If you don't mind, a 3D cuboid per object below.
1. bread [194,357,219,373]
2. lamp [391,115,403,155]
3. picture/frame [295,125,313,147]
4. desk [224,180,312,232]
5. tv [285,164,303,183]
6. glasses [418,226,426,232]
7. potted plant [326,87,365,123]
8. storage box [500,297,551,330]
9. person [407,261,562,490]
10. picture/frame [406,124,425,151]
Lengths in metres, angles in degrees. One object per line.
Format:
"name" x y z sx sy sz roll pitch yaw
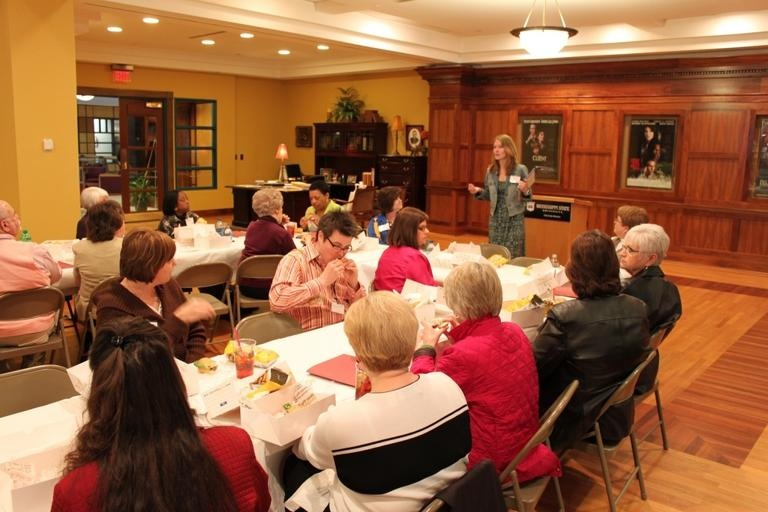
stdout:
"bread" -0.976 0.596 2.935 0.078 0.029 0.080 8 13 1
"lamp" 0.310 -2.737 12.064 0.276 0.862 0.568 0 12 0
"picture/frame" -2.092 -3.150 13.961 0.586 0.574 0.067 6 7 40
"desk" -2.352 -1.188 11.677 1.273 0.782 1.289 5 8 39
"tv" -2.187 -2.008 12.884 0.447 0.457 0.827 -1 7 -9
"glasses" 0.305 -0.211 4.266 0.048 0.023 0.048 -12 -1 23
"potted plant" -0.937 -3.626 12.764 0.875 0.854 0.512 10 16 41
"storage box" 0.894 0.330 3.477 0.229 0.147 0.233 -9 14 -39
"person" 0.520 0.692 2.840 0.656 1.226 0.921 -12 15 -43
"picture/frame" 0.715 -2.625 11.814 0.101 0.732 0.619 -1 4 -41
